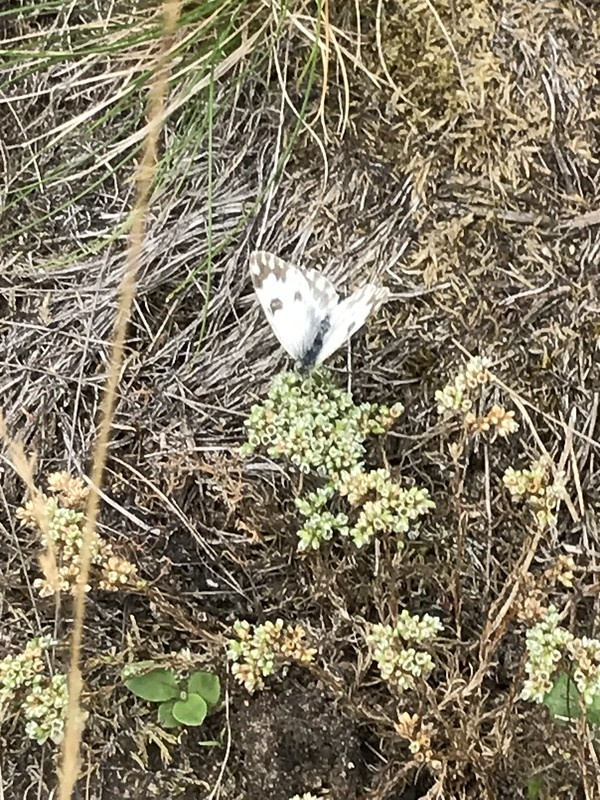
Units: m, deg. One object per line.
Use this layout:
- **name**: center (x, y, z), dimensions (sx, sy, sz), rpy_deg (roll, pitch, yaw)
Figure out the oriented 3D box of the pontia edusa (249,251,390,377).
- **pontia edusa**: center (0.015, -0.113, 1.225), dimensions (0.186, 0.094, 0.120), rpy_deg (11, 64, 6)
